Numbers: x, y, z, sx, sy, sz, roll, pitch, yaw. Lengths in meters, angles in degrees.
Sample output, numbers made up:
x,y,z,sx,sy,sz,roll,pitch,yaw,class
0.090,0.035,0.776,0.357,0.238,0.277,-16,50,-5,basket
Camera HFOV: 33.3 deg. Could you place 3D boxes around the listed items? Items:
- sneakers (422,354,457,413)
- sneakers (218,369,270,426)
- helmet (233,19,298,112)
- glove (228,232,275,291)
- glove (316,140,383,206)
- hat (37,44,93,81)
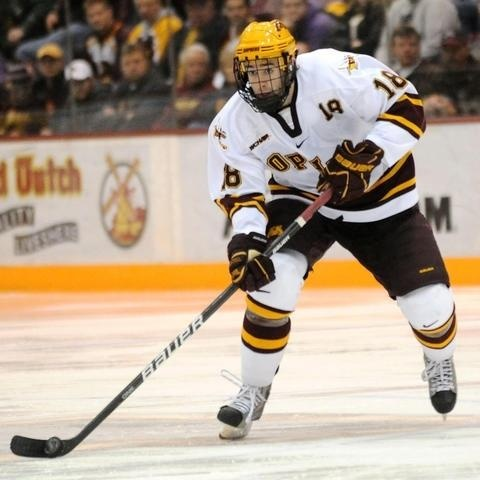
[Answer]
x,y,z,sx,sy,sz,roll,pitch,yaw,class
0.628,0.457,2.573,0.075,0.080,0.201,-19,30,21,sneakers
0.030,0.503,2.522,0.121,0.109,0.166,27,2,18,sneakers
0.078,-0.520,2.411,0.182,0.267,0.141,1,16,-1,helmet
0.036,0.067,2.462,0.142,0.171,0.187,1,15,0,glove
0.343,-0.196,2.455,0.143,0.211,0.076,32,37,12,glove
-0.892,-0.902,4.074,0.281,0.182,0.181,11,18,34,hat
